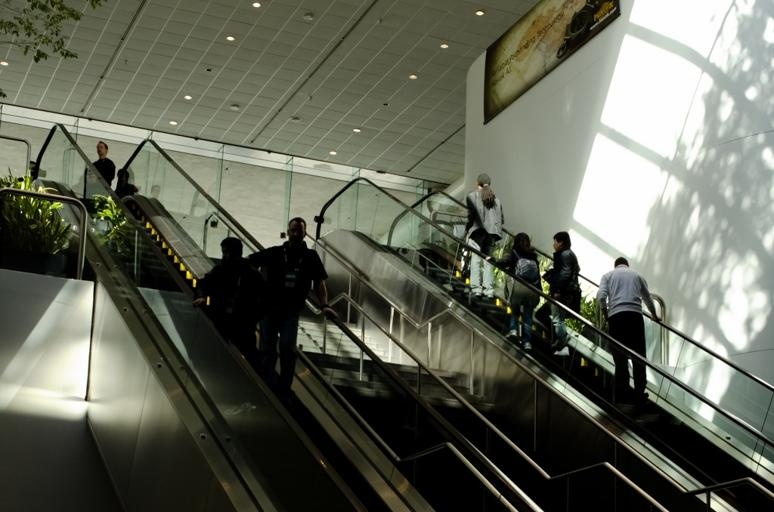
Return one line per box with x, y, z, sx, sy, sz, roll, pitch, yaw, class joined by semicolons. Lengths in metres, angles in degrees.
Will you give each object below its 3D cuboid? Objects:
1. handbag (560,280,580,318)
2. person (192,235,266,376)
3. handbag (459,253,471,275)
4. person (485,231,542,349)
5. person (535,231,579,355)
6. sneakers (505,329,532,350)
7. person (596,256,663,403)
2.463;0.568;7.860;0.355;0.240;0.196;21;4;-16;handbag
-1.759;0.513;6.696;0.786;1.813;0.479;-6;37;-17;person
1.235;0.117;9.124;0.104;0.297;0.210;7;-2;-18;handbag
1.848;0.440;8.239;0.608;1.582;1.391;0;0;14;person
2.344;0.539;7.990;0.663;0.614;1.591;-5;40;24;person
1.756;1.132;7.752;0.137;0.176;0.300;-20;42;-35;sneakers
2.919;0.816;7.144;0.671;1.584;1.384;0;0;24;person
